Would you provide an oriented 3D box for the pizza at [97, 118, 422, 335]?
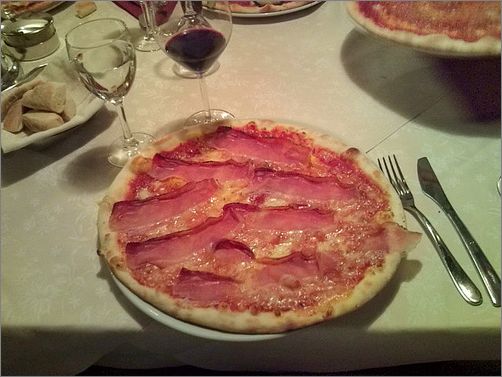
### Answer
[{"bbox_3d":[-0.013,0.086,0.897,0.480,0.077,0.405,14,48,14],"label":"pizza"}]
